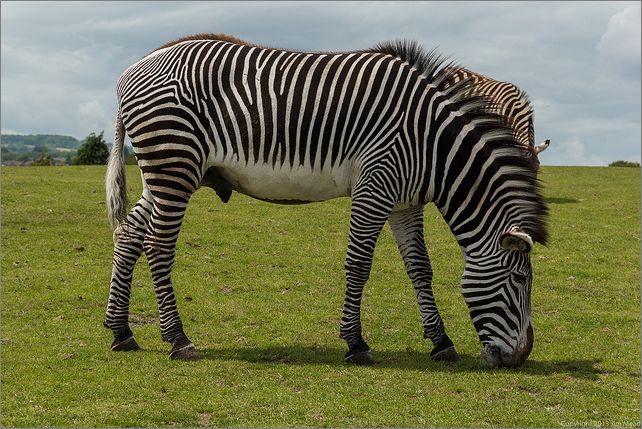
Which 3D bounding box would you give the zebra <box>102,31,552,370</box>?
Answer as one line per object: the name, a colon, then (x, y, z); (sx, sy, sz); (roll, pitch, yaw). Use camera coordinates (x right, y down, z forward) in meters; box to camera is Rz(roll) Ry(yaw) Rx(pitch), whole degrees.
zebra: (-0.012, -0.074, 13.781); (8.115, 5.602, 2.343); (3, 3, 5)
